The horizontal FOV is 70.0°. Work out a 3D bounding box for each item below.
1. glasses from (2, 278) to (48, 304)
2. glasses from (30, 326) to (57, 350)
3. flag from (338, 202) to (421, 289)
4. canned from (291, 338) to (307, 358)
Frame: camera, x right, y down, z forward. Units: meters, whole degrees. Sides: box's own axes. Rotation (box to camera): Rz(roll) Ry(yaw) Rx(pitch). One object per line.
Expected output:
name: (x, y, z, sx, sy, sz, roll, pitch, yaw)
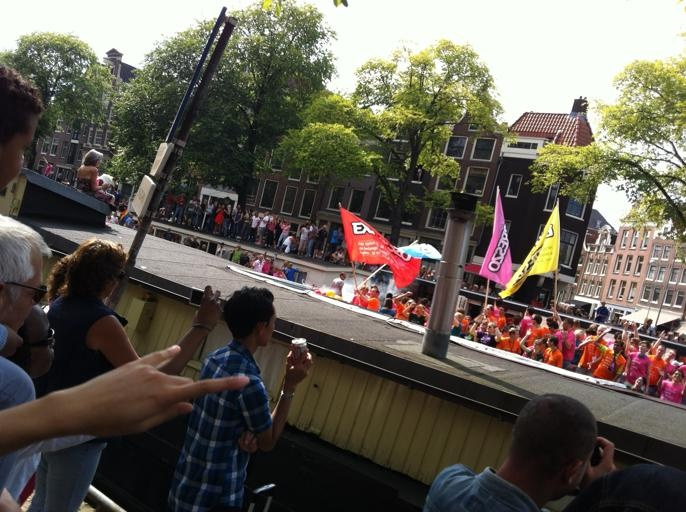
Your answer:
glasses: (-1.282, 0.145, 1.965, 0.092, 0.032, 0.096, 15, -1, -5)
glasses: (-1.376, 0.378, 2.236, 0.111, 0.057, 0.094, 1, 7, 5)
flag: (1.798, -0.523, 22.013, 4.871, 1.936, 0.710, 37, 11, -2)
canned: (-0.274, 0.586, 3.109, 0.092, 0.117, 0.101, 1, -3, 2)
